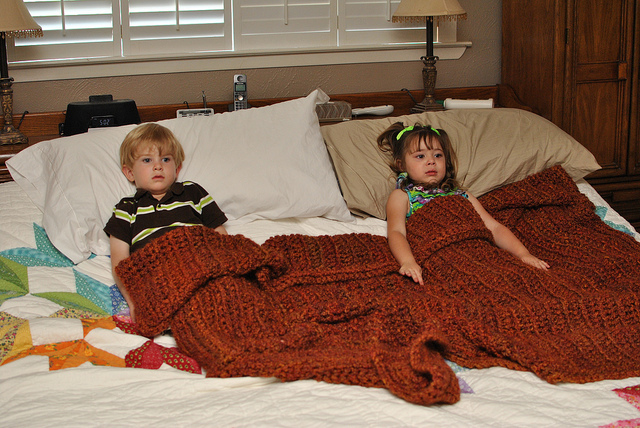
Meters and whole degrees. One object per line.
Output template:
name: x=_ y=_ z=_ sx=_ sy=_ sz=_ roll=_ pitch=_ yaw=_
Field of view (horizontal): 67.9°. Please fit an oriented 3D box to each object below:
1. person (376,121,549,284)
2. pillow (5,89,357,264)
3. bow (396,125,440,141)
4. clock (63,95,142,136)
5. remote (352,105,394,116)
person: x=0.481 y=-0.054 z=1.785 sx=0.505 sy=0.335 sz=0.878 roll=-1 pitch=30 yaw=0
pillow: x=-0.473 y=-0.172 z=1.768 sx=1.009 sy=0.167 sz=0.668 roll=-11 pitch=52 yaw=-19
bow: x=0.396 y=-0.338 z=1.947 sx=0.171 sy=0.046 sz=0.077 roll=-1 pitch=17 yaw=12
clock: x=-0.983 y=-0.443 z=2.134 sx=0.354 sy=0.176 sz=0.138 roll=-11 pitch=26 yaw=-28
remote: x=0.271 y=-0.540 z=2.472 sx=0.171 sy=0.045 sz=0.044 roll=-10 pitch=30 yaw=3
